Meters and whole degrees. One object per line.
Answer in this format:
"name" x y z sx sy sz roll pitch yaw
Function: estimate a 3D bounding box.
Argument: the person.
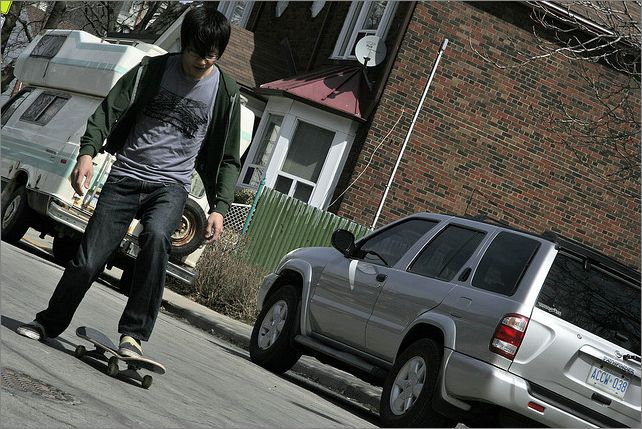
"person" -1.433 -0.209 4.344 1.324 2.837 0.649 18 2 -10

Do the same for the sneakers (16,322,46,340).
"sneakers" -2.393 0.962 4.306 0.258 0.114 0.106 20 1 32

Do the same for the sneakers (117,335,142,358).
"sneakers" -1.504 1.040 4.132 0.197 0.155 0.158 20 3 -13
